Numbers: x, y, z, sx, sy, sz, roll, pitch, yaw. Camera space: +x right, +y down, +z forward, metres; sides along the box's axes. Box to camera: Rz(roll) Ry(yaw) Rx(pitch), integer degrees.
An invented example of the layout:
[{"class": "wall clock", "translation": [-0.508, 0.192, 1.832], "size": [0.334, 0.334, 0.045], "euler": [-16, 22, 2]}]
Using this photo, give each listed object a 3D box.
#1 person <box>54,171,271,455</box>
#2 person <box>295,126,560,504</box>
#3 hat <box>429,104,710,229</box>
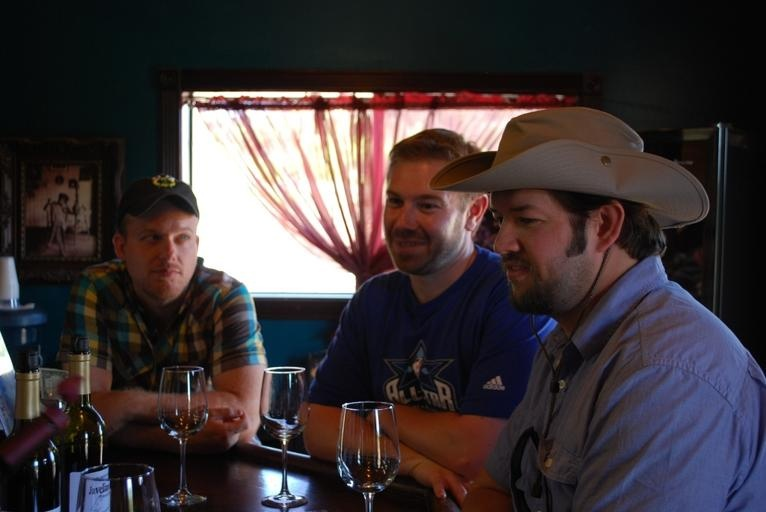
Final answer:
[{"class": "person", "translation": [-0.970, 0.255, 3.240], "size": [1.108, 1.380, 1.095], "euler": [1, -10, -12]}, {"class": "person", "translation": [0.150, 0.241, 2.886], "size": [0.952, 1.407, 0.915], "euler": [1, -2, 35]}, {"class": "hat", "translation": [0.675, -0.259, 2.280], "size": [0.591, 0.223, 0.446], "euler": [11, -4, -6]}]
